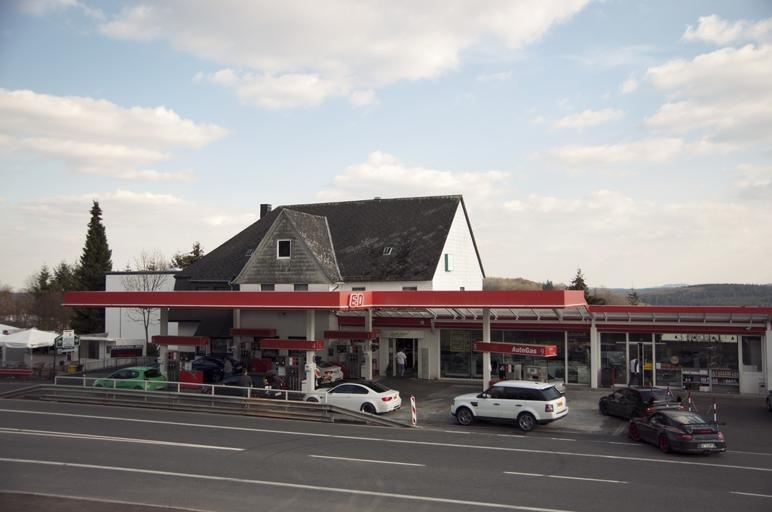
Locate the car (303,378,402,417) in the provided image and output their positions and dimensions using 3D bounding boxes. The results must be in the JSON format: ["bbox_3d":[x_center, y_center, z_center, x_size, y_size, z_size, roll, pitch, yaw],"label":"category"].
[{"bbox_3d":[-1.696,7.902,46.054,4.456,1.415,2.110,4,-6,14],"label":"car"}]

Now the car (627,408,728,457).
[{"bbox_3d":[14.295,8.392,40.957,3.135,1.526,5.226,-5,3,-15],"label":"car"}]
